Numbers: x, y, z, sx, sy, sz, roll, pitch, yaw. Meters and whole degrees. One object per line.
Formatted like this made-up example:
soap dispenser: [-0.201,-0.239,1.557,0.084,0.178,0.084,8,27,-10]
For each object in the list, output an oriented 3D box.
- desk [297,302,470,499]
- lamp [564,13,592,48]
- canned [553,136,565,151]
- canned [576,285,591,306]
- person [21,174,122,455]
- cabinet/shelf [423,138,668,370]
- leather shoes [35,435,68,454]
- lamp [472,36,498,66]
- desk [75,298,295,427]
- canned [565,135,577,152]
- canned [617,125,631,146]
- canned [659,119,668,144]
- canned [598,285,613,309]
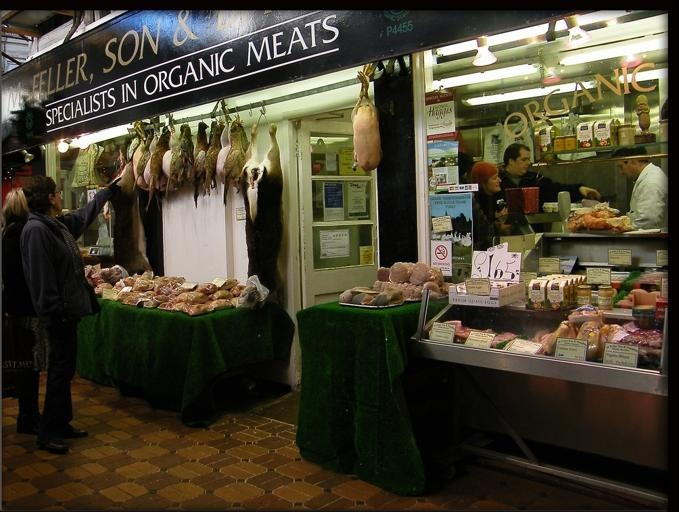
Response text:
desk: [0.214,0.814,3.628,1.299,1.180,1.100,3,5,41]
lamp: [1.497,-1.418,3.192,0.144,0.172,0.056,0,5,28]
canned: [1.472,-0.752,3.404,0.090,0.095,0.088,-3,3,-34]
canned: [1.469,0.236,3.051,0.111,0.159,0.109,-1,-1,22]
person: [-2.223,0.427,4.066,0.492,2.082,0.868,-5,5,-31]
cabinet/shelf: [1.324,-0.063,3.121,1.146,1.194,0.844,0,5,33]
leather shoes: [-2.160,1.417,3.841,0.244,0.101,0.109,2,-4,17]
lamp: [1.000,-1.409,3.506,0.163,0.188,0.042,0,5,33]
desk: [-1.615,0.882,4.819,1.711,0.604,1.027,7,6,43]
canned: [1.533,-0.748,3.358,0.092,0.099,0.091,-1,4,13]
canned: [1.794,-0.759,3.183,0.105,0.113,0.104,-1,5,26]
canned: [1.938,-0.753,3.034,0.037,0.143,0.040,-6,6,-38]
canned: [1.580,0.248,3.009,0.093,0.131,0.075,-1,5,15]
